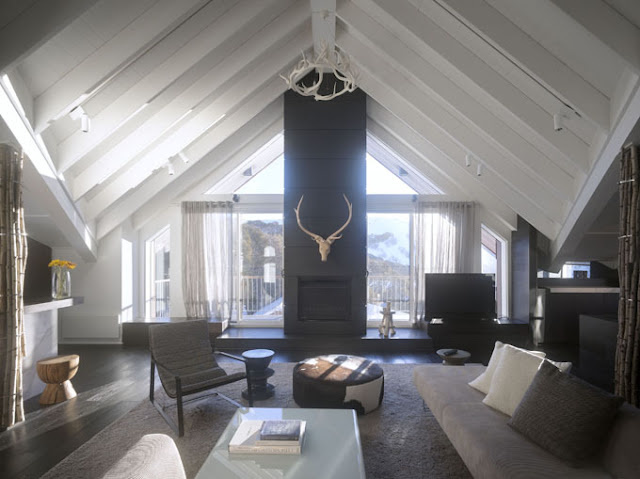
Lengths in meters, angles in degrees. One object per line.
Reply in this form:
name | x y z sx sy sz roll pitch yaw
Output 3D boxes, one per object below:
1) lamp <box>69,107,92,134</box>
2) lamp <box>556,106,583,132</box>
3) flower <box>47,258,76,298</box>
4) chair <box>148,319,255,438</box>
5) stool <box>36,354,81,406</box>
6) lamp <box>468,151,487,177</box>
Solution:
lamp | -2.678 -1.355 5.475 0.267 0.337 0.172 4 4 30
lamp | 2.625 -1.293 5.211 0.272 0.304 0.241 7 7 21
flower | -3.358 0.502 6.375 0.291 0.522 0.301 -3 -5 3
chair | -1.320 1.447 5.424 0.877 1.070 1.096 0 0 -35
stool | -2.951 1.547 5.535 0.401 0.503 0.429 5 9 23
lamp | 2.228 -1.056 6.939 0.078 0.331 0.307 -6 -21 42
